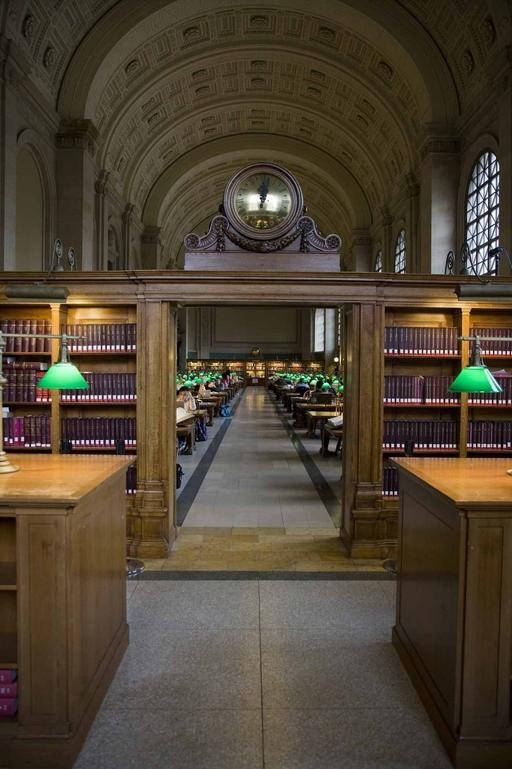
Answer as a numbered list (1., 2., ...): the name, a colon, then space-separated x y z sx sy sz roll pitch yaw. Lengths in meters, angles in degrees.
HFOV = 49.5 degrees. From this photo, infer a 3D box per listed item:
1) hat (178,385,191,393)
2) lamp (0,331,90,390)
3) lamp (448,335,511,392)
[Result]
1. hat: -1.327 0.119 10.183 0.125 0.177 0.161 1 15 7
2. lamp: -1.683 -0.201 4.374 0.786 0.538 0.491 3 0 -3
3. lamp: 1.708 -0.178 4.249 0.502 0.544 0.484 -1 2 8
